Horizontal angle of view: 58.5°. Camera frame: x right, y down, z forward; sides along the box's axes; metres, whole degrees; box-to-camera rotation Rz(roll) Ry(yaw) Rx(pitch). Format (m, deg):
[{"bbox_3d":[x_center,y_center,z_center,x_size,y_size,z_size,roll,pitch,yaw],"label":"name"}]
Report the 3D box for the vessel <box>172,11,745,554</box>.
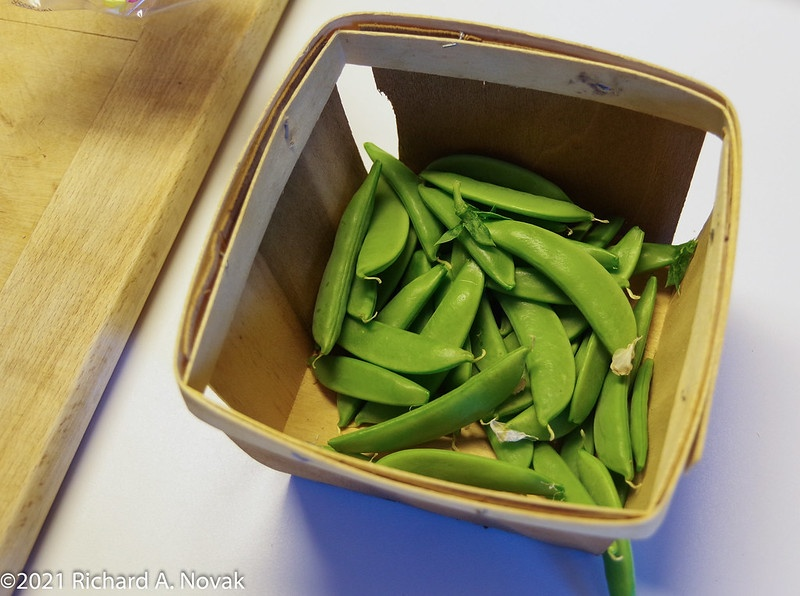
[{"bbox_3d":[0.088,-0.001,1.138,0.723,0.480,0.699,18,61,7],"label":"vessel"}]
